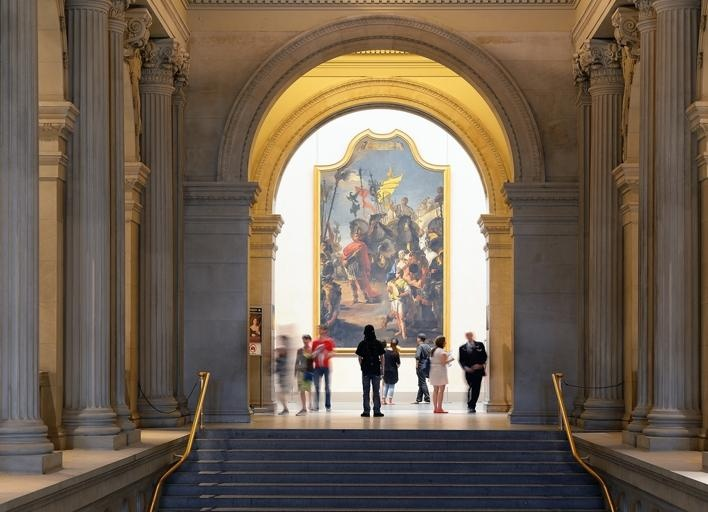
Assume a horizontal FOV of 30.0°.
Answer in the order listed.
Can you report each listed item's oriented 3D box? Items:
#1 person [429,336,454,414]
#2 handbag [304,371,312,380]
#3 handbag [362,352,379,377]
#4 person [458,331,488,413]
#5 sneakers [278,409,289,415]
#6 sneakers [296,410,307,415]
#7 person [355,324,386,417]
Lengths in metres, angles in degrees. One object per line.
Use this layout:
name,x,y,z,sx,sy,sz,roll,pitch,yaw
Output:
person,1.498,2.138,23.570,0.306,1.387,0.863,-2,-6,3
handbag,-0.846,2.202,24.040,0.156,0.135,0.151,0,-3,5
handbag,0.274,1.864,22.422,0.328,0.365,0.203,-1,-6,-6
person,2.256,2.195,24.863,0.523,1.506,1.113,-2,-6,6
sneakers,-1.329,2.929,24.512,0.221,0.083,0.065,4,-24,-16
sneakers,-0.957,2.832,23.625,0.233,0.091,0.076,0,-8,1
person,0.279,1.974,22.592,0.437,1.571,0.650,-2,-6,1
